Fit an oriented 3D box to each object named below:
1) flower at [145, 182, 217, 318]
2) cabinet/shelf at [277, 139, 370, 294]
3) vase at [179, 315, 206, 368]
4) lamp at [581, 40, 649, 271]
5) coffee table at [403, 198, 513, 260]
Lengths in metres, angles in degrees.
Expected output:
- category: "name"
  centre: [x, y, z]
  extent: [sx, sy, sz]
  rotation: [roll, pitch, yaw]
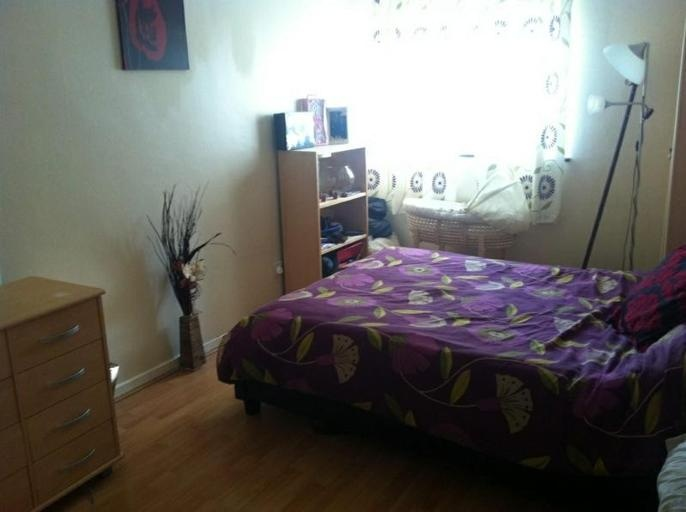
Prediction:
- category: "flower"
  centre: [-0.973, -0.054, 3.416]
  extent: [0.237, 0.813, 0.470]
  rotation: [5, 18, 30]
- category: "cabinet/shelf"
  centre: [-0.179, -0.321, 4.066]
  extent: [0.359, 1.542, 0.786]
  rotation: [6, 19, 22]
- category: "vase"
  centre: [-1.004, 0.551, 3.450]
  extent: [0.162, 0.373, 0.095]
  rotation: [-10, 16, -21]
- category: "lamp"
  centre: [2.004, -0.692, 3.927]
  extent: [0.389, 1.658, 0.482]
  rotation: [5, 17, 29]
- category: "coffee table"
  centre: [0.941, -0.255, 4.302]
  extent: [0.670, 0.292, 0.541]
  rotation: [9, 18, 29]
